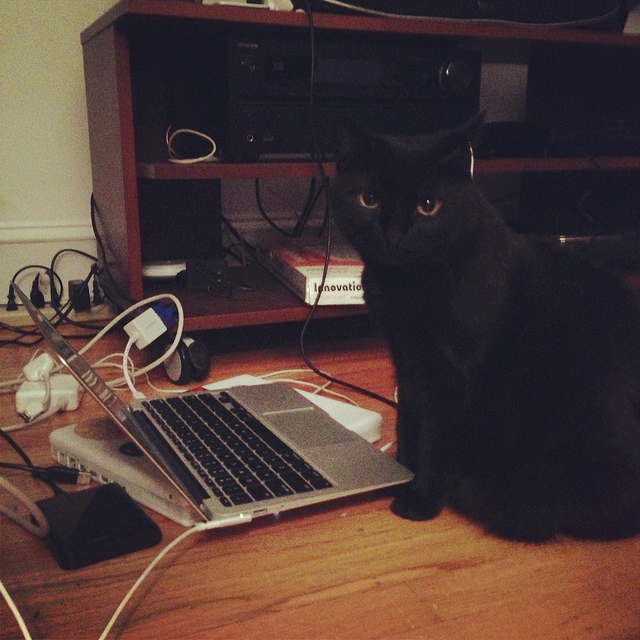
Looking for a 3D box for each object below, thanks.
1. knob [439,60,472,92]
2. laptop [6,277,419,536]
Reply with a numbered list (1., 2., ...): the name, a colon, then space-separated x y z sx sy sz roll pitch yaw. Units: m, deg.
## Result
1. knob: 0.192 -0.342 0.985 0.021 0.043 0.054 -20 38 -31
2. laptop: -0.086 0.014 0.573 0.261 0.172 0.262 -7 27 -31
